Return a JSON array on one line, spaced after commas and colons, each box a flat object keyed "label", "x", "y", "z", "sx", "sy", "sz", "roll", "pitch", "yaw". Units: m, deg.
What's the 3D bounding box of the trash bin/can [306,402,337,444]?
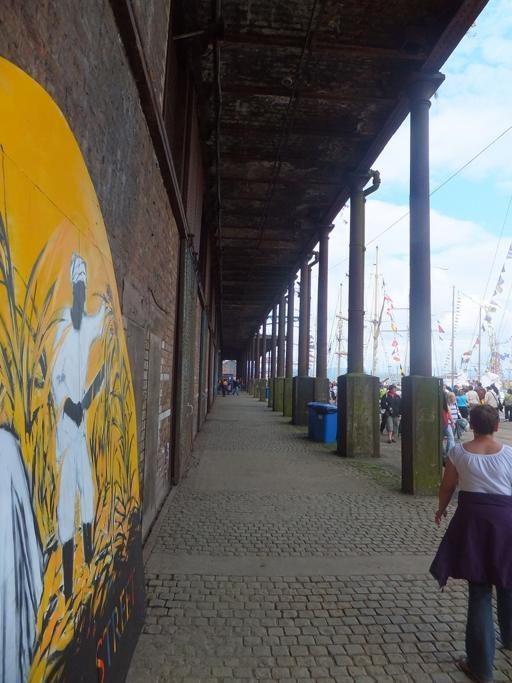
[{"label": "trash bin/can", "x": 1.652, "y": 1.991, "z": 12.734, "sx": 0.484, "sy": 1.337, "sz": 1.099, "roll": 0, "pitch": 0, "yaw": -9}]

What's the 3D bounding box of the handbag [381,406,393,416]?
[{"label": "handbag", "x": 3.616, "y": 1.934, "z": 14.144, "sx": 0.189, "sy": 0.287, "sz": 0.386, "roll": 6, "pitch": -3, "yaw": -9}]
